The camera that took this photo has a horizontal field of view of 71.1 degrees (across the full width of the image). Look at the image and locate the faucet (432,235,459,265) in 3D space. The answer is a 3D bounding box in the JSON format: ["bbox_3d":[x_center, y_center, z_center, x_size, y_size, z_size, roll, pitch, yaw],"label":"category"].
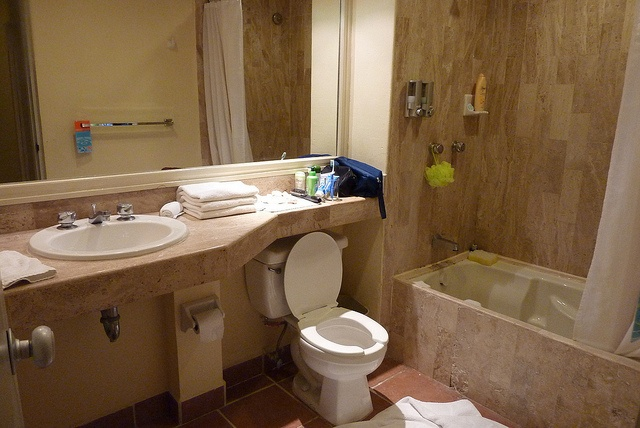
[{"bbox_3d":[1.027,0.282,3.587,0.184,0.116,0.167,17,23,42],"label":"faucet"}]

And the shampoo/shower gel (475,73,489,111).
[{"bbox_3d":[1.256,-0.950,3.498,0.089,0.275,0.152,3,18,16],"label":"shampoo/shower gel"}]

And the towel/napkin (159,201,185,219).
[{"bbox_3d":[-0.843,-0.027,2.591,0.114,0.045,0.089,13,25,18],"label":"towel/napkin"}]

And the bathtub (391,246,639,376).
[{"bbox_3d":[1.197,0.655,3.376,0.822,0.493,1.177,-17,25,-38],"label":"bathtub"}]

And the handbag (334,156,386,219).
[{"bbox_3d":[0.320,-0.211,3.159,0.162,0.402,0.302,-22,3,-31],"label":"handbag"}]

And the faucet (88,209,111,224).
[{"bbox_3d":[-1.171,0.013,2.384,0.057,0.031,0.080,1,13,7],"label":"faucet"}]
